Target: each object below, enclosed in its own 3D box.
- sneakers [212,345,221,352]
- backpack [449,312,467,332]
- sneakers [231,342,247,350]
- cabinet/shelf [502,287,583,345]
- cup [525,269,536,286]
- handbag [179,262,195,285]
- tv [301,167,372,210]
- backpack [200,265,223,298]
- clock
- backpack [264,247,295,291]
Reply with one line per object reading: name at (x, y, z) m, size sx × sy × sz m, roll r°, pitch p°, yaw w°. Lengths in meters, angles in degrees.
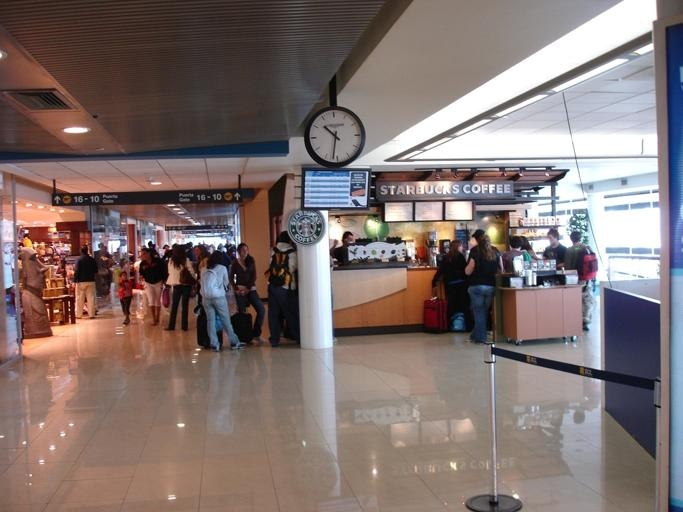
sneakers at (-2.183, 1.618, 9.124) m, size 0.092 × 0.082 × 0.111 m, roll 1°, pitch -7°, yaw -1°
backpack at (2.264, 1.270, 10.090) m, size 0.270 × 0.340 × 0.362 m, roll 0°, pitch 32°, yaw 17°
sneakers at (-1.828, 1.571, 9.343) m, size 0.233 × 0.125 × 0.443 m, roll -2°, pitch 4°, yaw 2°
cabinet/shelf at (3.417, 0.987, 9.021) m, size 1.260 × 0.898 × 0.667 m, roll -1°, pitch -1°, yaw -10°
cup at (3.224, 0.366, 8.834) m, size 0.306 × 0.258 × 0.141 m, roll -4°, pitch 4°, yaw -31°
handbag at (-3.342, 0.385, 11.246) m, size 0.472 × 0.626 × 0.288 m, roll 1°, pitch -10°, yaw -19°
tv at (-0.064, -1.047, 8.119) m, size 1.195 × 0.621 × 0.412 m, roll -5°, pitch 4°, yaw -39°
backpack at (-2.173, 0.432, 8.800) m, size 0.544 × 0.675 × 0.378 m, roll 1°, pitch -2°, yaw -17°
clock at (-0.066, -1.267, 5.575) m, size 0.670 × 0.647 × 0.063 m, roll -7°, pitch 13°, yaw -17°
backpack at (-1.091, 0.229, 9.397) m, size 0.558 × 0.759 × 0.192 m, roll -1°, pitch 3°, yaw 22°
